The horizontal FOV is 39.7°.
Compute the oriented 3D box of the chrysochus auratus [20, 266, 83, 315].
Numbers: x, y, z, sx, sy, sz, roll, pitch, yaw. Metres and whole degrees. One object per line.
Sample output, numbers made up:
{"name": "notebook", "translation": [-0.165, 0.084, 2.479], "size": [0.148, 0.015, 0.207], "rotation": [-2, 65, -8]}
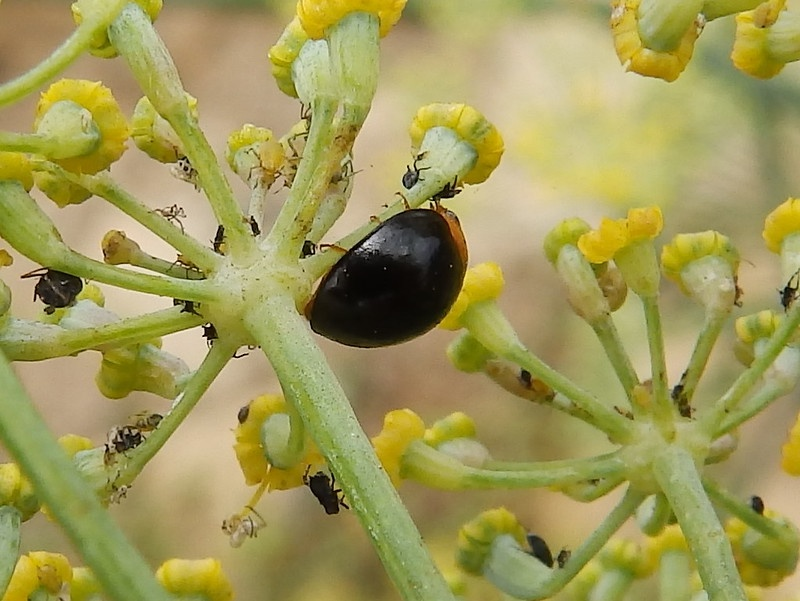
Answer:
{"name": "chrysochus auratus", "translation": [-0.576, -0.026, 1.852], "size": [0.065, 0.079, 0.089], "rotation": [16, -63, 56]}

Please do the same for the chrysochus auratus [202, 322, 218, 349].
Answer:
{"name": "chrysochus auratus", "translation": [-0.314, 0.056, 1.852], "size": [0.041, 0.010, 0.036], "rotation": [2, -96, 6]}

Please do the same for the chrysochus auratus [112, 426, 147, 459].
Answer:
{"name": "chrysochus auratus", "translation": [-0.439, 0.231, 1.812], "size": [0.046, 0.046, 0.016], "rotation": [37, -43, 16]}

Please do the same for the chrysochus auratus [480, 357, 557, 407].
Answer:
{"name": "chrysochus auratus", "translation": [0.207, 0.139, 1.916], "size": [0.106, 0.036, 0.060], "rotation": [14, -31, 40]}

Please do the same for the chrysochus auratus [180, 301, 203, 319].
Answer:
{"name": "chrysochus auratus", "translation": [-0.343, 0.016, 1.809], "size": [0.024, 0.009, 0.028], "rotation": [-2, -85, 5]}

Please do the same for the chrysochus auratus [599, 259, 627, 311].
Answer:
{"name": "chrysochus auratus", "translation": [0.375, -0.024, 1.943], "size": [0.065, 0.025, 0.078], "rotation": [-1, -83, 35]}

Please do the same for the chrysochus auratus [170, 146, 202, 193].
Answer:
{"name": "chrysochus auratus", "translation": [-0.379, -0.232, 1.985], "size": [0.072, 0.023, 0.069], "rotation": [-12, -95, 4]}

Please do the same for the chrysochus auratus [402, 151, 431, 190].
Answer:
{"name": "chrysochus auratus", "translation": [0.046, -0.226, 1.978], "size": [0.024, 0.070, 0.055], "rotation": [38, -35, -25]}

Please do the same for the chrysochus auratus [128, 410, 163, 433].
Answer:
{"name": "chrysochus auratus", "translation": [-0.424, 0.206, 1.874], "size": [0.056, 0.053, 0.015], "rotation": [7, -80, 10]}

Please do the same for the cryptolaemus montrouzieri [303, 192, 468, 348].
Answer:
{"name": "cryptolaemus montrouzieri", "translation": [-0.006, -0.045, 1.775], "size": [0.185, 0.260, 0.200], "rotation": [1, -72, 6]}

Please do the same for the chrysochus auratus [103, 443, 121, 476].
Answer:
{"name": "chrysochus auratus", "translation": [-0.466, 0.253, 1.793], "size": [0.031, 0.036, 0.011], "rotation": [5, -20, -12]}

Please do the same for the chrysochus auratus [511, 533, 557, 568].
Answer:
{"name": "chrysochus auratus", "translation": [0.029, -0.216, 1.958], "size": [0.019, 0.062, 0.044], "rotation": [-34, -70, 22]}
